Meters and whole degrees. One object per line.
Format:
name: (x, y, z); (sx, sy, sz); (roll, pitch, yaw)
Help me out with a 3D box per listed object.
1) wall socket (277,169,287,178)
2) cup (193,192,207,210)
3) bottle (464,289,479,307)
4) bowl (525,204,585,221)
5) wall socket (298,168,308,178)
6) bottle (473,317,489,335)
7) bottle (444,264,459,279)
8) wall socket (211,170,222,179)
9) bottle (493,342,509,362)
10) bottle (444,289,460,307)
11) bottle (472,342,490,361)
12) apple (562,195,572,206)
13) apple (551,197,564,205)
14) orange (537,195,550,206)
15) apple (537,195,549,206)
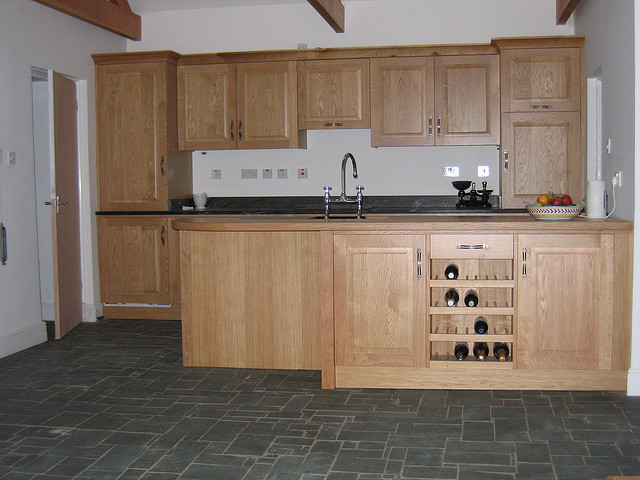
wall socket: (-0.418, -0.748, 5.826); (0.099, 0.085, 0.032); (0, 1, 3)
cup: (-1.282, -0.426, 5.752); (0.189, 0.172, 0.148); (1, 1, 5)
bottle: (1.000, 0.386, 3.442); (0.099, 0.094, 0.110); (5, 6, 16)
bowl: (1.552, -0.181, 3.454); (0.325, 0.099, 0.208); (0, 7, 11)
wall socket: (-0.189, -0.748, 5.844); (0.109, 0.094, 0.097); (0, -1, 8)
bottle: (1.056, 0.572, 3.445); (0.096, 0.091, 0.104); (3, 8, 9)
bottle: (0.859, 0.211, 3.412); (0.084, 0.079, 0.078); (12, 1, 10)
wall socket: (-1.177, -0.754, 5.941); (0.110, 0.096, 0.015); (0, 1, 1)
bottle: (1.186, 0.740, 3.394); (0.093, 0.088, 0.229); (-6, 9, 17)
bottle: (0.878, 0.388, 3.438); (0.087, 0.100, 0.087); (-4, 7, 21)
bottle: (1.069, 0.741, 3.445); (0.101, 0.094, 0.153); (1, 7, 15)
apple: (1.675, -0.268, 3.547); (0.061, 0.067, 0.059); (0, 5, 13)
apple: (1.617, -0.261, 3.542); (0.063, 0.050, 0.051); (-17, 19, -11)
orange: (1.554, -0.278, 3.627); (0.075, 0.070, 0.072); (6, 8, -24)
apple: (1.544, -0.274, 3.625); (0.075, 0.069, 0.072); (3, 10, 6)
